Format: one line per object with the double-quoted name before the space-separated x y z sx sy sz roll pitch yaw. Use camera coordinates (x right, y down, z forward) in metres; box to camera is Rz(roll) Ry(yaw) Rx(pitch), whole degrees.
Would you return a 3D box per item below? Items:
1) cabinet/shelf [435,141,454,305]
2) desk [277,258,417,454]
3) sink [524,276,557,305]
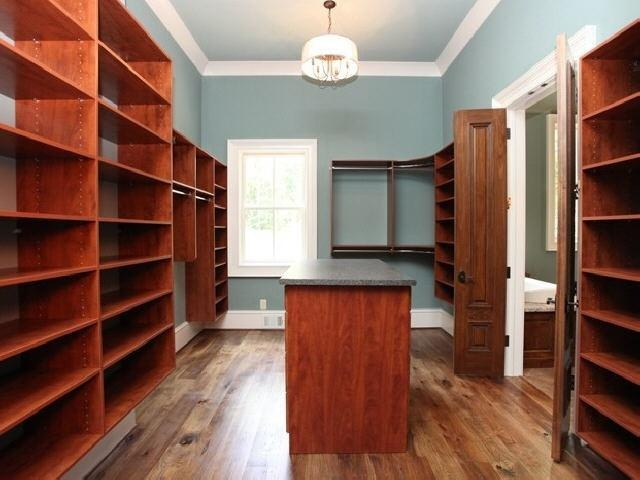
"cabinet/shelf" 1.275 -0.185 4.799 0.210 1.565 0.561 1 12 6
"desk" 0.191 0.815 3.670 0.907 1.222 1.649 -1 1 1
"sink" 2.138 0.498 4.570 0.262 0.146 0.509 6 13 24
